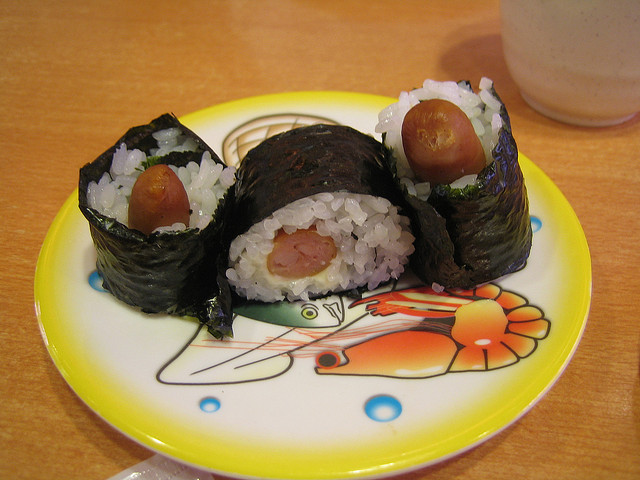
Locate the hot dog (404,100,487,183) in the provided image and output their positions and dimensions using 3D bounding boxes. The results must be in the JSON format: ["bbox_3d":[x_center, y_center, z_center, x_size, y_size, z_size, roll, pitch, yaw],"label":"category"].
[{"bbox_3d":[0.416,-0.337,2.401,0.229,0.116,0.306,-34,83,-2],"label":"hot dog"}]

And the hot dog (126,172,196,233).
[{"bbox_3d":[-0.554,-0.137,2.460,0.224,0.224,0.262,1,61,-15],"label":"hot dog"}]
